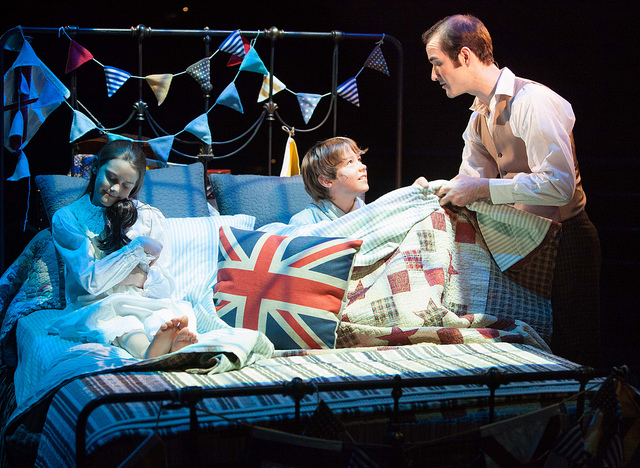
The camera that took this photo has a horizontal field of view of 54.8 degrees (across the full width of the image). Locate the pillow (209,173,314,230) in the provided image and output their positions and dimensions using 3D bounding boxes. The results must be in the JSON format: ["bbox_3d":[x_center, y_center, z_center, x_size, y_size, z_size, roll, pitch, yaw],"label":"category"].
[{"bbox_3d":[-0.289,-0.171,3.027,0.500,0.275,0.304,-5,14,-20],"label":"pillow"}]

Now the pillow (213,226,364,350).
[{"bbox_3d":[-0.190,0.237,2.465,0.623,0.472,0.234,6,-20,25],"label":"pillow"}]

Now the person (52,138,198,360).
[{"bbox_3d":[-0.709,0.060,2.346,0.425,0.797,0.759,0,10,-42],"label":"person"}]

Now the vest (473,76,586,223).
[{"bbox_3d":[0.881,-0.400,2.827,0.360,0.604,0.520,-11,4,-31],"label":"vest"}]

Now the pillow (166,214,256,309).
[{"bbox_3d":[-0.562,0.131,2.748,0.387,0.371,0.111,1,-9,-28],"label":"pillow"}]

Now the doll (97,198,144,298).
[{"bbox_3d":[-0.777,0.047,2.414,0.157,0.403,0.157,-4,12,-21],"label":"doll"}]
